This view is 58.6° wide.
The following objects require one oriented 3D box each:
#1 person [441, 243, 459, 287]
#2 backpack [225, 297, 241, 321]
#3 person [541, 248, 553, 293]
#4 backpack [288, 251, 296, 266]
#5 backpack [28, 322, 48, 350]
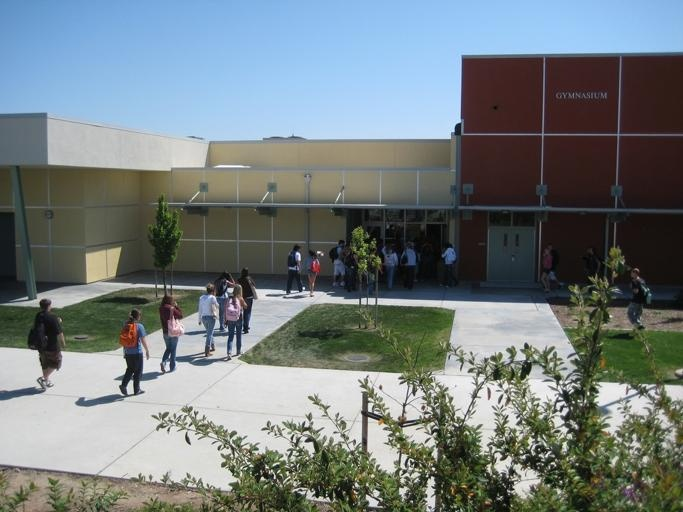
[{"bbox_3d":[4.043,0.300,22.568,0.552,1.591,1.106,-5,3,10],"label":"person"},{"bbox_3d":[-2.433,1.208,13.657,0.303,0.494,0.450,1,0,1],"label":"backpack"},{"bbox_3d":[7.191,0.455,21.196,0.430,1.552,0.997,-4,3,20],"label":"person"},{"bbox_3d":[-1.683,0.107,20.617,0.364,0.376,0.205,-4,3,37],"label":"backpack"},{"bbox_3d":[-5.848,1.551,11.662,0.385,0.545,0.154,-5,3,18],"label":"backpack"}]
